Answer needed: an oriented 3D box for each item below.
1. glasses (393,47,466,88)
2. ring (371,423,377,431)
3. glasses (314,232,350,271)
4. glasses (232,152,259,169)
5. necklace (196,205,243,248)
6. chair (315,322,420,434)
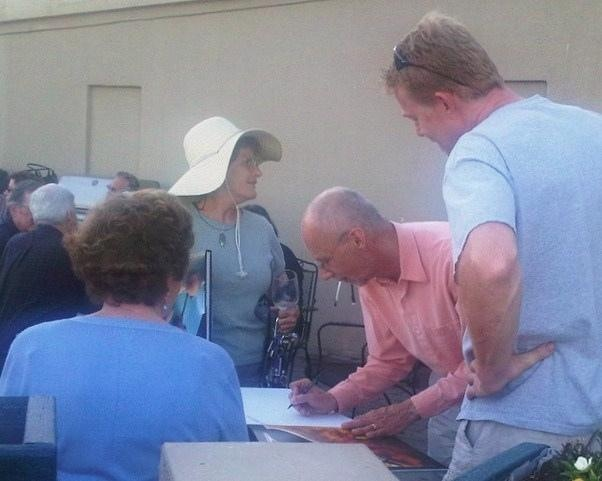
[{"bbox_3d":[0.357,-0.529,2.196,0.158,0.040,0.125,17,-4,-6],"label":"glasses"},{"bbox_3d":[0.254,0.666,2.730,0.015,0.021,0.008,0,-14,2],"label":"ring"},{"bbox_3d":[0.104,0.046,2.785,0.151,0.163,0.134,3,-1,0],"label":"glasses"},{"bbox_3d":[-0.267,-0.397,3.720,0.075,0.045,0.105,-6,-15,-7],"label":"glasses"},{"bbox_3d":[-0.336,-0.066,3.557,0.183,0.191,0.059,9,20,38],"label":"necklace"},{"bbox_3d":[0.270,0.497,3.056,0.382,0.649,0.356,1,2,-21],"label":"chair"}]
